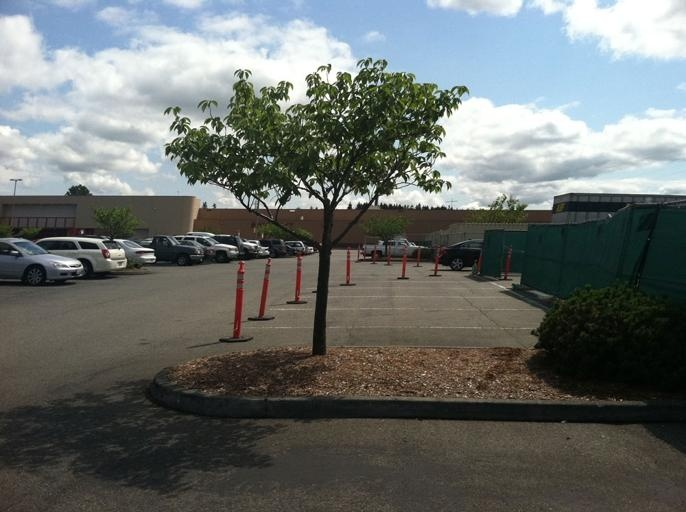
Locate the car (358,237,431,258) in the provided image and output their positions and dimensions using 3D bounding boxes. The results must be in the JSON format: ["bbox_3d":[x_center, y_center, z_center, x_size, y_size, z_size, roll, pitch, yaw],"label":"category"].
[{"bbox_3d":[4.913,-0.288,44.666,5.762,1.707,2.354,-1,3,-2],"label":"car"}]

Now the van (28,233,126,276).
[{"bbox_3d":[-11.787,-0.054,21.493,3.908,1.195,1.736,3,-1,-1],"label":"van"}]

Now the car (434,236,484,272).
[{"bbox_3d":[7.381,-0.069,29.868,2.558,1.804,1.411,0,2,3],"label":"car"}]
